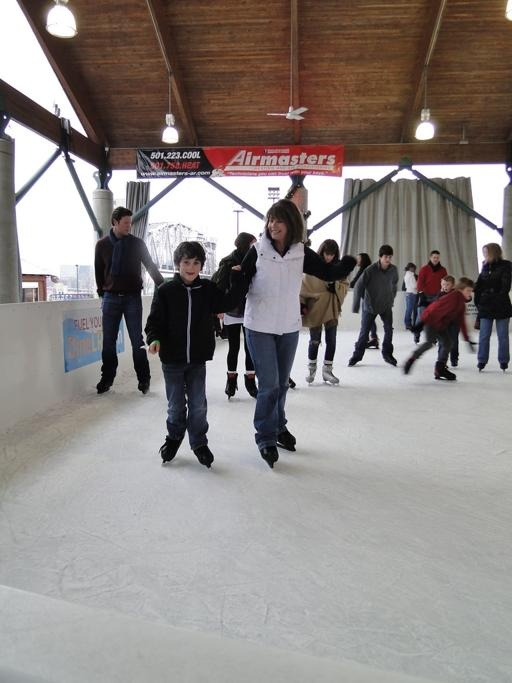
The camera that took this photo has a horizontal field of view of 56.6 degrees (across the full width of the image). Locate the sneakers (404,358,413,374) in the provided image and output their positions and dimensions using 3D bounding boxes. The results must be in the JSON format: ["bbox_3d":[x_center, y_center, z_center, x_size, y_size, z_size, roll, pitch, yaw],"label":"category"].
[{"bbox_3d":[1.431,0.231,4.465,0.059,0.211,0.047,-24,59,-18],"label":"sneakers"}]

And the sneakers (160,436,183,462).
[{"bbox_3d":[-0.440,0.523,2.397,0.058,0.065,0.164,16,34,-9],"label":"sneakers"}]

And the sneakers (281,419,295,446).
[{"bbox_3d":[0.176,0.521,2.711,0.089,0.119,0.278,-1,-12,-5],"label":"sneakers"}]

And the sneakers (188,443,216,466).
[{"bbox_3d":[-0.263,0.547,2.289,0.067,0.116,0.115,-23,55,-25],"label":"sneakers"}]

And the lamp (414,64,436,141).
[{"bbox_3d":[2.400,-3.305,6.594,0.285,0.883,0.292,9,24,16],"label":"lamp"}]

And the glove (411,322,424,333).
[{"bbox_3d":[1.498,-0.130,4.413,0.097,0.151,0.090,1,-1,7],"label":"glove"}]

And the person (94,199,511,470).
[{"bbox_3d":[-0.096,-0.132,3.119,1.058,1.422,1.919,-3,12,-6],"label":"person"}]
